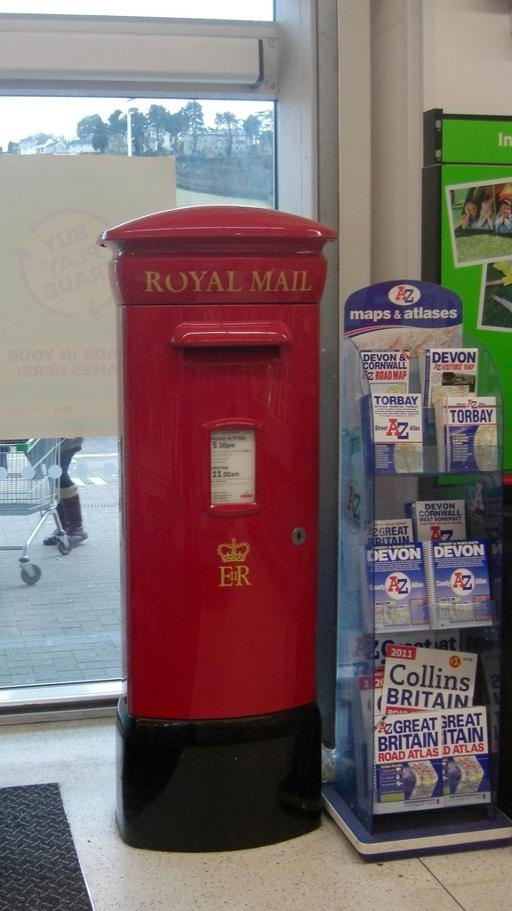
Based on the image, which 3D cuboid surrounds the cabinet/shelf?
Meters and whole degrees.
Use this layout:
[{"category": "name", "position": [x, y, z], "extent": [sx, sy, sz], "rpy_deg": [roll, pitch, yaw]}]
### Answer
[{"category": "cabinet/shelf", "position": [0.435, 0.351, 2.203], "extent": [0.482, 1.334, 0.527], "rpy_deg": [0, 4, -1]}]

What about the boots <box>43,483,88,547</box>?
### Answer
[{"category": "boots", "position": [-0.668, 0.227, 2.848], "extent": [0.142, 0.285, 0.203], "rpy_deg": [1, 2, 9]}]
